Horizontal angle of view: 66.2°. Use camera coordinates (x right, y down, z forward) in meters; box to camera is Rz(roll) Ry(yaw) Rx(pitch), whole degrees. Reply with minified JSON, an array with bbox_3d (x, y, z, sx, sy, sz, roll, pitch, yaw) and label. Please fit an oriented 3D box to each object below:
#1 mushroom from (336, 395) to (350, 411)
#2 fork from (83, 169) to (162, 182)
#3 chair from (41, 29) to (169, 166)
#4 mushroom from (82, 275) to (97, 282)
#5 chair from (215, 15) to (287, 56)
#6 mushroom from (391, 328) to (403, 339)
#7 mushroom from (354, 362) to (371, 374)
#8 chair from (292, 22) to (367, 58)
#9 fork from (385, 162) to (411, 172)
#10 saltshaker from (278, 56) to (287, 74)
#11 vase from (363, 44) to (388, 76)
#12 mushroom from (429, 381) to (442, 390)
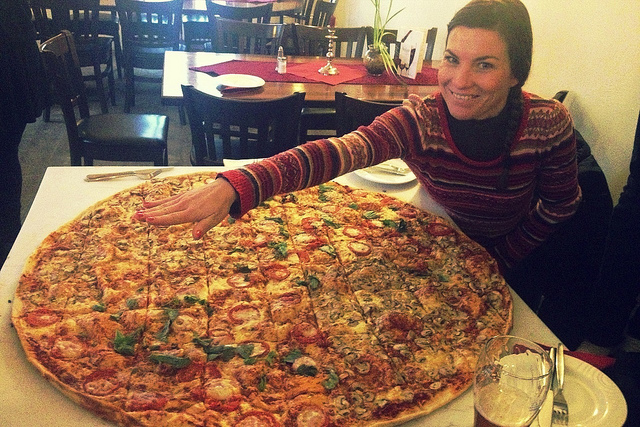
[{"bbox_3d":[0.071,0.610,1.582,0.039,0.015,0.048,-9,27,-23],"label":"mushroom"},{"bbox_3d":[-0.905,-0.173,2.234,0.242,0.027,0.036,-6,34,-11],"label":"fork"},{"bbox_3d":[-1.426,-0.777,3.382,0.688,0.862,0.489,-5,28,-16],"label":"chair"},{"bbox_3d":[-0.880,0.246,1.872,0.030,0.007,0.028,19,13,6],"label":"mushroom"},{"bbox_3d":[-0.630,-1.590,4.425,0.586,0.312,0.449,-2,26,-11],"label":"chair"},{"bbox_3d":[0.281,0.436,1.784,0.037,0.016,0.038,5,25,5],"label":"mushroom"},{"bbox_3d":[0.146,0.527,1.670,0.054,0.015,0.040,2,25,-2],"label":"mushroom"},{"bbox_3d":[0.133,-1.649,4.732,0.670,0.316,0.760,10,26,15],"label":"chair"},{"bbox_3d":[0.389,-0.229,2.402,0.101,0.029,0.018,24,39,28],"label":"fork"},{"bbox_3d":[-0.282,-1.103,3.652,0.068,0.119,0.043,-7,29,-19],"label":"saltshaker"},{"bbox_3d":[0.412,-1.189,3.824,0.157,0.205,0.237,-12,29,-27],"label":"vase"},{"bbox_3d":[0.382,0.568,1.618,0.023,0.007,0.024,-1,17,20],"label":"mushroom"}]
